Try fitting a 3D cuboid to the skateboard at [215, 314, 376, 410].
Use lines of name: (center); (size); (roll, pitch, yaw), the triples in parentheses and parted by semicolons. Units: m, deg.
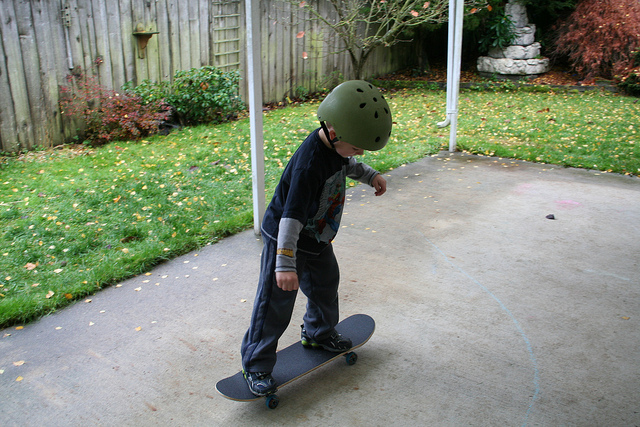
skateboard: (-0.163, 1.123, 3.728); (1.276, 0.189, 0.298); (-20, 32, -29)
